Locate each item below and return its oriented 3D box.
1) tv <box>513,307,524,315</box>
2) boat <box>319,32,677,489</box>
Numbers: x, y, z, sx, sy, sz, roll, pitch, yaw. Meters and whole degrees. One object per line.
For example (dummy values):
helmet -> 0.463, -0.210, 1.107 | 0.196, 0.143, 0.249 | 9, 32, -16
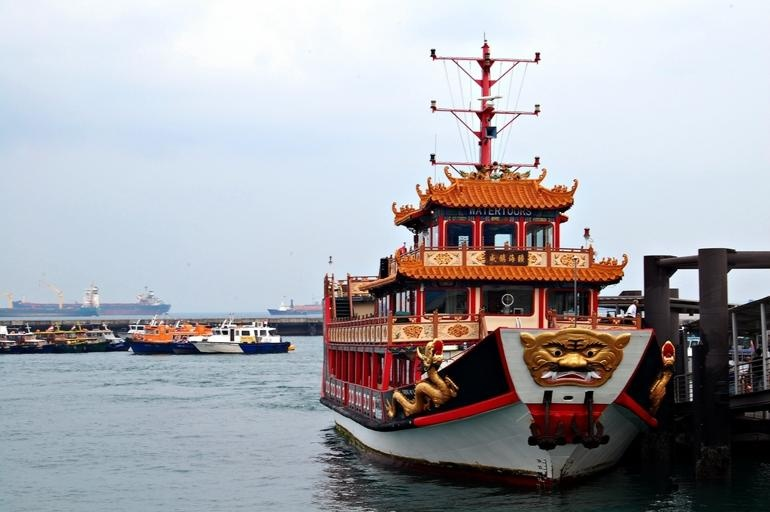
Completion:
tv -> 6.257, 2.502, 77.285 | 0.523, 0.430, 0.267 | 0, -8, 6
boat -> 6.925, 4.289, 85.445 | 10.655, 15.906, 29.570 | 1, -5, -12
